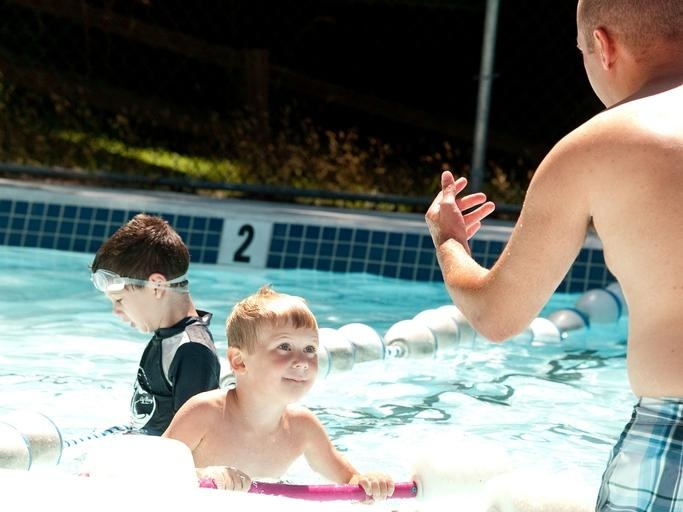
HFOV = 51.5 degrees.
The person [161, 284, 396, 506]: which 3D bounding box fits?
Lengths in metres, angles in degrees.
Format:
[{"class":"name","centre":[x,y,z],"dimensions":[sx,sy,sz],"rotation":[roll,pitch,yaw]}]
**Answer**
[{"class":"person","centre":[-0.112,0.366,2.220],"dimensions":[0.656,0.852,0.536],"rotation":[5,-4,-35]}]
